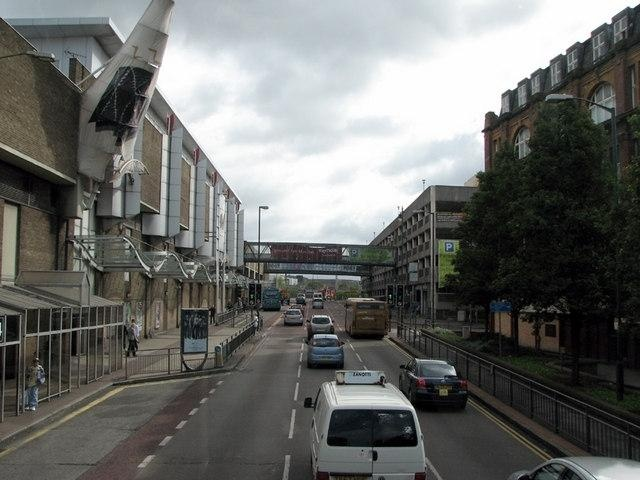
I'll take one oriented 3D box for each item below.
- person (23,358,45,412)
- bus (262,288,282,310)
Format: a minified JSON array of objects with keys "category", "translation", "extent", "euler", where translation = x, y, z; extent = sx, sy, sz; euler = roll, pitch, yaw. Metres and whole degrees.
[{"category":"person","translation":[-11.502,5.874,24.582],"extent":[0.717,2.033,1.078],"euler":[1,-8,-29]},{"category":"bus","translation":[-7.155,8.956,90.794],"extent":[1.783,2.272,3.459],"euler":[1,-2,-1]}]
